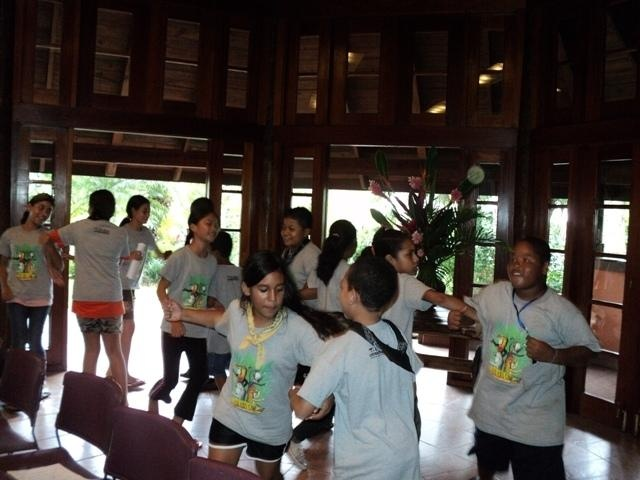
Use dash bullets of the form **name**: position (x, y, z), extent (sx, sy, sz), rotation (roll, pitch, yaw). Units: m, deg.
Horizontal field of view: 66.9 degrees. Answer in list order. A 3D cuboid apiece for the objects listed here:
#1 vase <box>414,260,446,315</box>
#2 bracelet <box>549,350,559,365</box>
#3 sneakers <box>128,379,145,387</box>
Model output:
- **vase**: position (1.015, 0.479, 4.416), extent (0.280, 0.565, 0.356), rotation (2, -8, 16)
- **bracelet**: position (1.230, 0.619, 2.550), extent (0.022, 0.059, 0.048), rotation (7, -12, 6)
- **sneakers**: position (-1.855, 1.458, 4.952), extent (0.194, 0.088, 0.070), rotation (-1, -4, -16)
